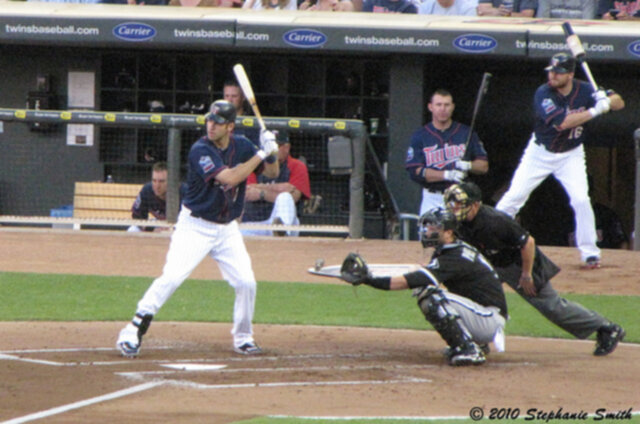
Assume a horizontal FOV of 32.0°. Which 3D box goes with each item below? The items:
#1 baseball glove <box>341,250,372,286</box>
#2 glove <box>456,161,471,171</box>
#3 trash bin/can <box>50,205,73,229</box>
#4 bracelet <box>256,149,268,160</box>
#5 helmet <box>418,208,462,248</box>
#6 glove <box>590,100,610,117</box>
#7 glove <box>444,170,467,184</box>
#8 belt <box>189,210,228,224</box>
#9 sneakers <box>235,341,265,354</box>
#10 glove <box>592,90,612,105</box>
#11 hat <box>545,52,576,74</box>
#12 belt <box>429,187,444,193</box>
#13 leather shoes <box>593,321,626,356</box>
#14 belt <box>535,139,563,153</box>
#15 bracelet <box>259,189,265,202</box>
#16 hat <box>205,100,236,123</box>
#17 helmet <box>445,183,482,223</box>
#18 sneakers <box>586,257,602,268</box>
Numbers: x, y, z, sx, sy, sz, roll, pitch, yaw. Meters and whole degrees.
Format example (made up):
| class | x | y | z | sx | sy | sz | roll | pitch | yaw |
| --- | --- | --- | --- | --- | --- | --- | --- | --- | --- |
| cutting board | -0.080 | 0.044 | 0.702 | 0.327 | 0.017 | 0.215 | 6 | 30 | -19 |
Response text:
| class | x | y | z | sx | sy | sz | roll | pitch | yaw |
| --- | --- | --- | --- | --- | --- | --- | --- | --- | --- |
| baseball glove | 0.382 | 0.656 | 12.880 | 0.325 | 0.377 | 0.188 | -25 | -13 | 21 |
| glove | 2.021 | -0.636 | 15.715 | 0.201 | 0.066 | 0.145 | 5 | 3 | -19 |
| trash bin/can | -4.402 | 0.097 | 19.083 | 0.483 | 0.394 | 0.433 | 1 | 1 | 1 |
| bracelet | -0.695 | -0.673 | 13.253 | 0.123 | 0.030 | 0.115 | 8 | 28 | -34 |
| helmet | 1.458 | 0.177 | 13.041 | 0.559 | 0.450 | 0.441 | -4 | 7 | 18 |
| glove | 3.714 | -1.389 | 14.844 | 0.244 | 0.250 | 0.283 | 3 | 3 | 14 |
| glove | 1.909 | -0.491 | 15.739 | 0.295 | 0.169 | 0.375 | 4 | 4 | 5 |
| belt | -1.322 | 0.077 | 13.201 | 0.439 | 0.139 | 0.077 | 2 | 3 | -5 |
| sneakers | -0.838 | 1.633 | 13.281 | 0.319 | 0.124 | 0.131 | -2 | 1 | 13 |
| glove | 3.762 | -1.520 | 14.938 | 0.240 | 0.252 | 0.649 | -3 | 3 | 7 |
| hat | 3.226 | -1.971 | 14.910 | 0.384 | 0.172 | 0.247 | 0 | 9 | -20 |
| belt | 1.694 | -0.288 | 16.226 | 0.102 | 0.066 | 0.299 | 1 | 3 | -30 |
| leather shoes | 3.421 | 1.519 | 13.236 | 0.281 | 0.345 | 0.124 | 22 | 24 | -12 |
| belt | 3.165 | -0.896 | 15.168 | 0.548 | 0.230 | 0.119 | 3 | 3 | 8 |
| bracelet | -0.892 | -0.251 | 17.240 | 0.082 | 0.117 | 0.128 | 4 | -3 | 0 |
| hat | -1.151 | -1.184 | 13.231 | 0.344 | 0.157 | 0.242 | 3 | 15 | -30 |
| helmet | 1.687 | -0.131 | 13.220 | 0.487 | 0.411 | 0.371 | -16 | 10 | -22 |
| sneakers | 3.775 | 0.712 | 15.488 | 0.148 | 0.075 | 0.191 | 0 | -8 | -1 |
